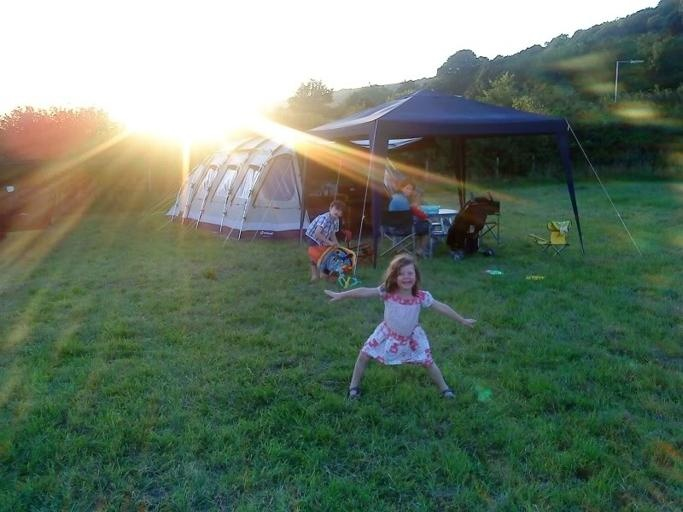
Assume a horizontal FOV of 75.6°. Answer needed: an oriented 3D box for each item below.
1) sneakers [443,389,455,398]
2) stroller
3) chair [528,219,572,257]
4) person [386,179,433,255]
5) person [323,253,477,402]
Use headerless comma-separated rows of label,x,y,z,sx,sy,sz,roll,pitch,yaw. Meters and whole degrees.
sneakers,1.011,1.296,4.143,0.129,0.068,0.046,1,2,42
stroller,2.637,-0.740,9.074,1.347,1.120,0.600,-30,23,-35
chair,4.456,-0.349,8.946,0.585,0.589,0.463,13,0,-31
person,1.402,-0.743,8.770,0.662,1.476,1.341,8,18,30
person,0.625,0.839,5.006,1.110,1.177,0.397,-1,4,0
